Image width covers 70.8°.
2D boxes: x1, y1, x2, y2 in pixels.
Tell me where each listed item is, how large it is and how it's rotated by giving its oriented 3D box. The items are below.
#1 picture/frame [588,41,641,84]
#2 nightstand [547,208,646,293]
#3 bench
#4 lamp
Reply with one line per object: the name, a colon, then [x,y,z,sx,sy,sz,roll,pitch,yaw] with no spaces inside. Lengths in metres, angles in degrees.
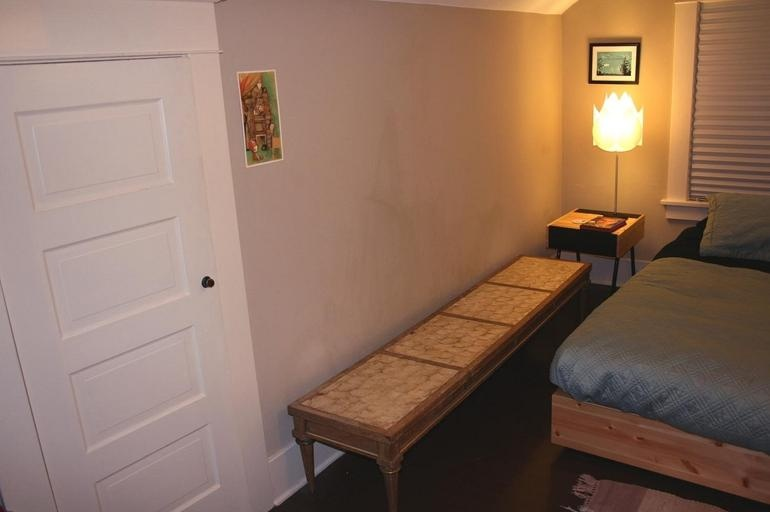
picture/frame: [2.125,-1.793,4.971,0.417,0.332,0.040,11,21,32]
nightstand: [2.006,-0.131,5.168,0.770,0.677,0.817,9,21,34]
bench: [0.474,0.785,3.705,0.644,0.649,2.287,14,26,41]
lamp: [2.150,-0.940,5.027,0.447,1.100,0.473,3,21,20]
